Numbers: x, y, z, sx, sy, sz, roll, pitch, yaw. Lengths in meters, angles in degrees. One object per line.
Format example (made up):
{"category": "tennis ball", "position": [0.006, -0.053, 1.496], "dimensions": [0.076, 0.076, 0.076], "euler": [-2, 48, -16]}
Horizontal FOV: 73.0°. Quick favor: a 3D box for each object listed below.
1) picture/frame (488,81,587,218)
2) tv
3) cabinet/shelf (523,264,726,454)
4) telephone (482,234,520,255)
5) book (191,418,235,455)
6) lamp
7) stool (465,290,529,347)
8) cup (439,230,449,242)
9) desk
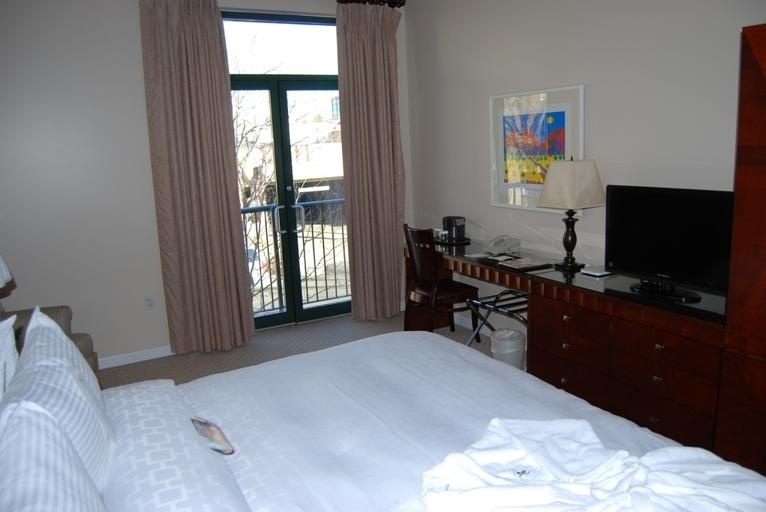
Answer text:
{"category": "picture/frame", "position": [1.270, -0.880, 4.155], "dimensions": [0.067, 1.277, 1.183], "euler": [-5, 7, -37]}
{"category": "tv", "position": [1.838, -0.098, 3.350], "dimensions": [0.215, 0.687, 0.972], "euler": [-5, 9, -20]}
{"category": "cabinet/shelf", "position": [1.464, 0.593, 3.014], "dimensions": [0.370, 0.885, 0.947], "euler": [-3, 7, -30]}
{"category": "telephone", "position": [1.022, -0.095, 4.379], "dimensions": [0.219, 0.073, 0.172], "euler": [-13, 20, -31]}
{"category": "book", "position": [-0.752, 0.809, 2.301], "dimensions": [0.036, 0.155, 0.152], "euler": [-45, 26, 3]}
{"category": "lamp", "position": [1.435, -0.299, 3.791], "dimensions": [0.516, 0.800, 0.386], "euler": [-10, 15, -33]}
{"category": "stool", "position": [1.054, 0.525, 4.112], "dimensions": [0.615, 0.367, 0.478], "euler": [8, 6, 34]}
{"category": "cup", "position": [0.585, -0.192, 4.903], "dimensions": [0.091, 0.104, 0.092], "euler": [0, -1, 0]}
{"category": "desk", "position": [0.849, 0.335, 4.349], "dimensions": [1.216, 0.801, 0.481], "euler": [16, 27, 42]}
